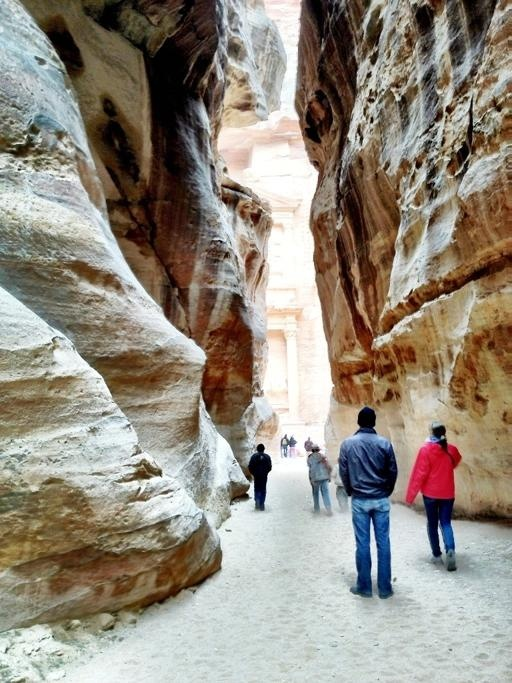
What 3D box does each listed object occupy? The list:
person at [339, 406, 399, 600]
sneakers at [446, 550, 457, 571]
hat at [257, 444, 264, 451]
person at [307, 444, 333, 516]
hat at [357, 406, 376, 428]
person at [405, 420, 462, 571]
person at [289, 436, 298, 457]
[{"bbox_3d":[0.835,1.218,3.199,0.400,1.159,0.274,-5,-12,11],"label":"person"},{"bbox_3d":[1.506,1.696,3.429,0.067,0.202,0.088,-3,27,11],"label":"sneakers"},{"bbox_3d":[0.077,1.803,7.478,0.124,0.050,0.183,0,-26,3],"label":"hat"},{"bbox_3d":[1.047,2.242,7.238,0.364,1.051,1.365,-4,-13,6],"label":"person"},{"bbox_3d":[0.862,0.610,3.500,0.138,0.175,0.188,2,4,11],"label":"hat"},{"bbox_3d":[1.475,1.258,3.626,0.403,1.131,0.530,-12,-15,35],"label":"person"},{"bbox_3d":[2.169,6.313,26.502,0.391,1.250,0.934,-3,-13,2],"label":"person"}]
